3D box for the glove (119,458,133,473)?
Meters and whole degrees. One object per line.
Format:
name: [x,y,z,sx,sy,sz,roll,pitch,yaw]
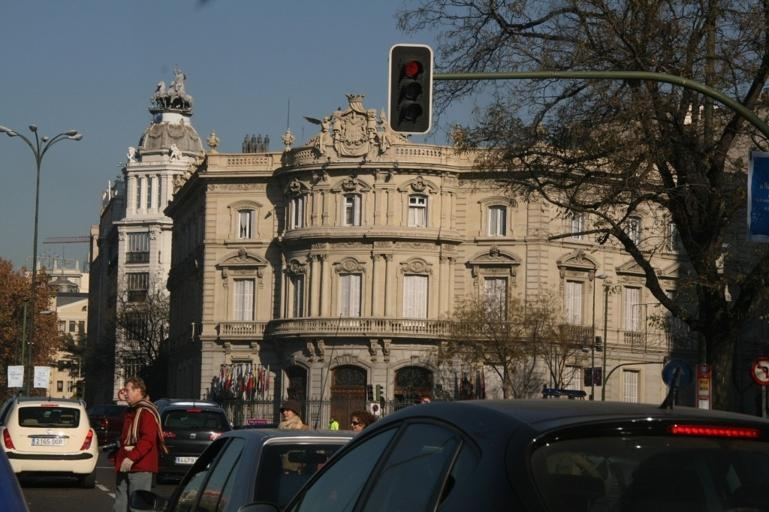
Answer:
glove: [-7.574,6.061,53.770,0.325,0.324,0.367,1,4,38]
